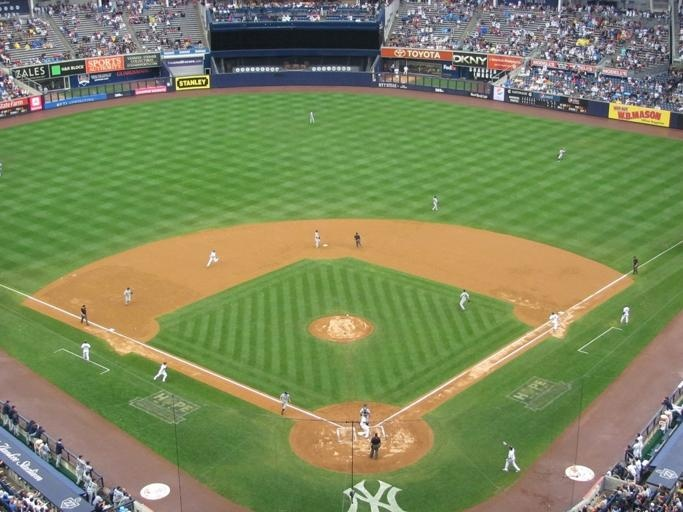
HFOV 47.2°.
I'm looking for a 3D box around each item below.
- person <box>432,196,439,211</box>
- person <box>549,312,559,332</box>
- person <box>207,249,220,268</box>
[{"bbox_3d":[8.419,-4.659,70.137,0.614,1.640,0.475,-17,71,7],"label":"person"},{"bbox_3d":[14.756,4.406,53.968,0.674,1.116,1.601,7,27,14],"label":"person"},{"bbox_3d":[-10.241,-0.093,62.018,0.952,1.117,2.134,-2,25,-2],"label":"person"}]
